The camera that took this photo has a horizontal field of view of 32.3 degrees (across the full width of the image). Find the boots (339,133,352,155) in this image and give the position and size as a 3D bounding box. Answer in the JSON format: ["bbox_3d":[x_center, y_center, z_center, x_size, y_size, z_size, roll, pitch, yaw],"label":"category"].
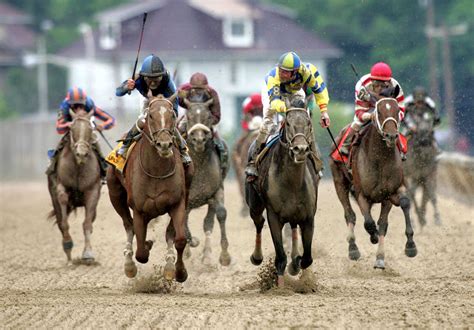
[{"bbox_3d":[2.642,-0.517,19.697,0.186,0.620,0.183,15,-19,19],"label":"boots"}]

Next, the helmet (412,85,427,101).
[{"bbox_3d":[5.126,-2.045,23.201,0.374,0.558,0.519,3,3,16],"label":"helmet"}]

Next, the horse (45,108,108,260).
[{"bbox_3d":[-3.897,0.510,19.850,1.183,3.651,1.293,-2,12,-3],"label":"horse"}]

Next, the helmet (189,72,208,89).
[{"bbox_3d":[-0.880,-2.099,19.975,0.375,0.323,0.383,-1,-9,44],"label":"helmet"}]

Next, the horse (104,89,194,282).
[{"bbox_3d":[-2.044,0.425,18.162,2.294,4.126,1.263,9,15,40],"label":"horse"}]

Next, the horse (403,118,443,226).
[{"bbox_3d":[5.139,0.179,22.781,0.706,3.015,2.052,-1,20,5],"label":"horse"}]

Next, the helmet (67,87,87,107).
[{"bbox_3d":[-3.914,-1.685,20.224,0.337,0.404,0.492,-1,-5,-8],"label":"helmet"}]

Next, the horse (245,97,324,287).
[{"bbox_3d":[1.024,0.515,18.357,1.895,4.139,1.527,6,14,31],"label":"horse"}]

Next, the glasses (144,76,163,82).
[{"bbox_3d":[-1.808,-1.887,18.002,0.409,0.201,0.182,-4,12,-10],"label":"glasses"}]
